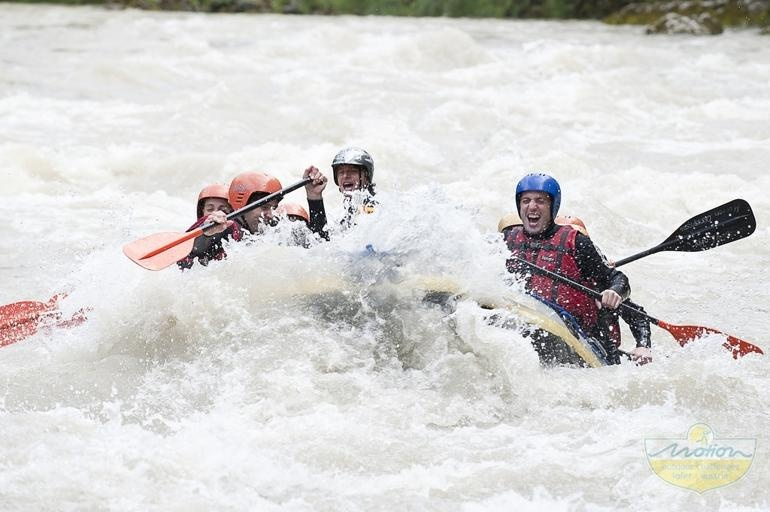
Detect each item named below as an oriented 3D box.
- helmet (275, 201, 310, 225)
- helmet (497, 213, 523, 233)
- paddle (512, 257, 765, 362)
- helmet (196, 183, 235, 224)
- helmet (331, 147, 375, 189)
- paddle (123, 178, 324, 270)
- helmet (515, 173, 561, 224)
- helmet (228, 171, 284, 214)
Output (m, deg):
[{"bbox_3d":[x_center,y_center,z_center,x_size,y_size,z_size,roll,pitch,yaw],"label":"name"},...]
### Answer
[{"bbox_3d":[-1.194,-0.573,11.962,0.376,0.278,0.173,17,75,-26],"label":"helmet"},{"bbox_3d":[1.520,-0.404,11.132,0.209,0.278,0.228,-14,97,7],"label":"helmet"},{"bbox_3d":[3.016,0.677,10.947,2.732,0.297,0.121,23,15,2],"label":"paddle"},{"bbox_3d":[-2.104,-0.642,11.451,0.397,0.451,0.426,4,34,-3],"label":"helmet"},{"bbox_3d":[-0.400,-1.096,11.467,0.437,0.565,0.402,-4,83,20],"label":"helmet"},{"bbox_3d":[-1.587,-0.388,10.794,2.902,0.127,0.706,-20,48,-25],"label":"paddle"},{"bbox_3d":[1.807,-0.669,10.791,0.494,0.599,0.489,-2,77,22],"label":"helmet"},{"bbox_3d":[-1.598,-0.780,11.398,0.636,0.467,0.405,21,85,-2],"label":"helmet"}]
